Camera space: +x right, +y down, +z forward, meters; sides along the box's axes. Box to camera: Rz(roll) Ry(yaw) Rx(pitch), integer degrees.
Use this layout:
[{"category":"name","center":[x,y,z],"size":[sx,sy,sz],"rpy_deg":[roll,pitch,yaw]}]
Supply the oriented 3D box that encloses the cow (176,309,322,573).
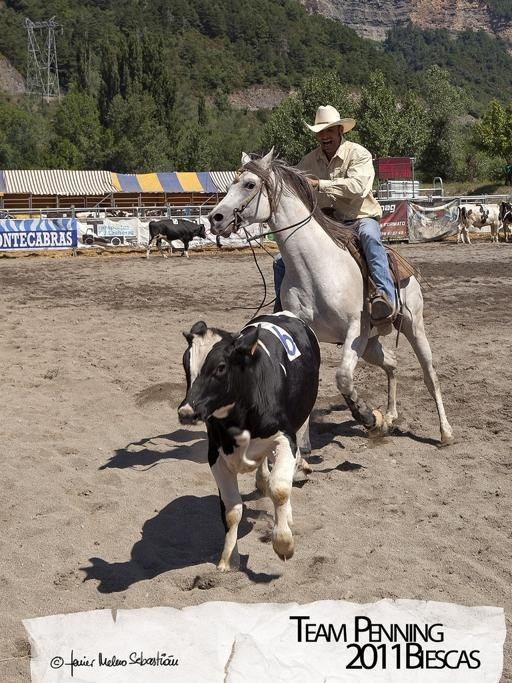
[{"category":"cow","center":[0.012,0.530,4.274],"size":[0.567,1.407,1.602],"rpy_deg":[0,10,7]}]

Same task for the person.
[{"category":"person","center":[0.630,-1.000,6.445],"size":[1.080,1.772,1.037],"rpy_deg":[-6,-2,30]}]

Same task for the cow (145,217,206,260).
[{"category":"cow","center":[-2.746,-3.616,26.789],"size":[1.646,1.242,2.370],"rpy_deg":[0,10,8]}]

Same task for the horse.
[{"category":"horse","center":[0.704,-0.207,6.262],"size":[0.748,2.264,2.658],"rpy_deg":[-8,-10,41]}]
